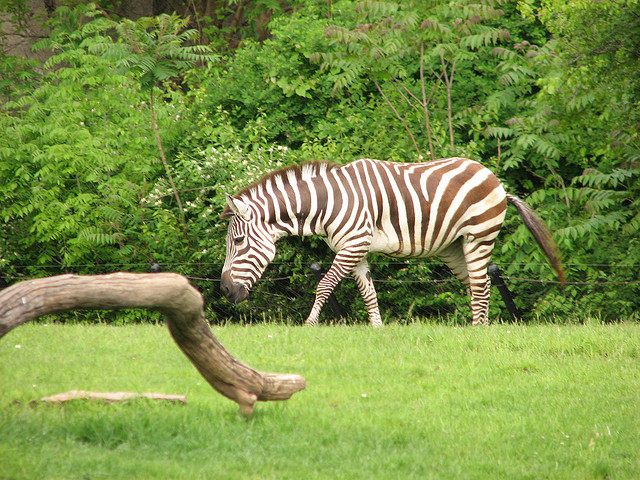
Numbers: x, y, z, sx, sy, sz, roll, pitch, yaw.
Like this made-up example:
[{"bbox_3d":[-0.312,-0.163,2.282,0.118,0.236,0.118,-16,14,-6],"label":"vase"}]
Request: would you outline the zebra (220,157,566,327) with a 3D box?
[{"bbox_3d":[1.109,0.158,15.754,5.463,2.660,1.352,-1,2,-13],"label":"zebra"}]
